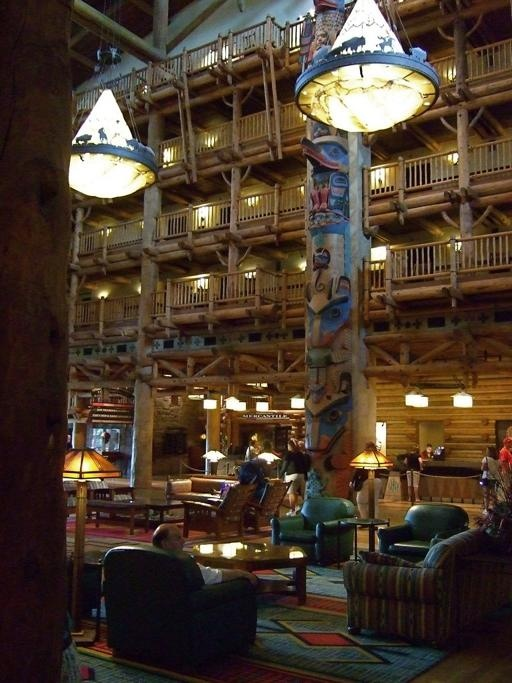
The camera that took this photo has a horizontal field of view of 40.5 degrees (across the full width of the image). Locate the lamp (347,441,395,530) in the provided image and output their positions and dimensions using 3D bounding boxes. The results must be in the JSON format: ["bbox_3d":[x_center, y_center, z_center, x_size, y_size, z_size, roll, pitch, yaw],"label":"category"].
[{"bbox_3d":[1.456,1.773,8.776,0.461,0.903,0.457,-3,-3,27],"label":"lamp"}]

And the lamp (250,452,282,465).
[{"bbox_3d":[0.221,2.663,15.757,0.696,0.217,0.650,4,-6,-25],"label":"lamp"}]

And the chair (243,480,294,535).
[{"bbox_3d":[0.054,3.021,12.851,0.938,0.872,0.719,5,-2,33],"label":"chair"}]

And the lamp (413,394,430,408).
[{"bbox_3d":[3.328,1.179,14.105,0.202,0.222,0.743,2,-7,16],"label":"lamp"}]

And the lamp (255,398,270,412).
[{"bbox_3d":[0.165,1.899,20.143,0.623,0.396,0.576,1,-3,-5],"label":"lamp"}]

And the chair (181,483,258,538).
[{"bbox_3d":[-0.618,2.880,11.720,1.057,0.807,0.815,-7,-16,28],"label":"chair"}]

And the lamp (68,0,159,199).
[{"bbox_3d":[-1.752,-2.640,8.755,1.072,1.633,1.469,6,-8,-11],"label":"lamp"}]

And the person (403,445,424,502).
[{"bbox_3d":[3.844,3.312,17.074,0.383,1.270,1.217,2,-7,13],"label":"person"}]

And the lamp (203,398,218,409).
[{"bbox_3d":[-1.256,1.801,19.811,0.381,0.238,0.391,-1,-2,44],"label":"lamp"}]
